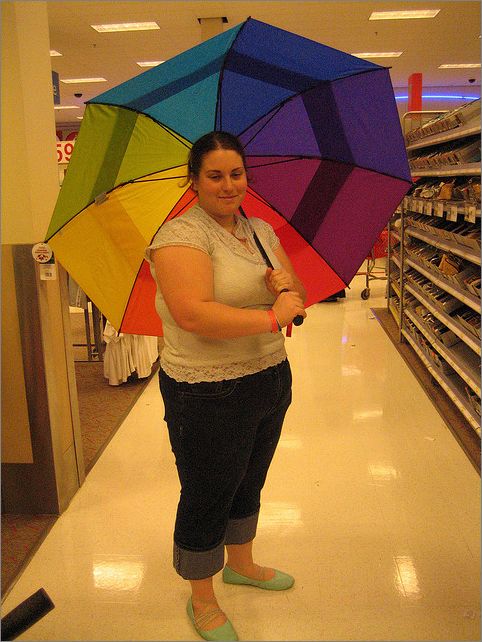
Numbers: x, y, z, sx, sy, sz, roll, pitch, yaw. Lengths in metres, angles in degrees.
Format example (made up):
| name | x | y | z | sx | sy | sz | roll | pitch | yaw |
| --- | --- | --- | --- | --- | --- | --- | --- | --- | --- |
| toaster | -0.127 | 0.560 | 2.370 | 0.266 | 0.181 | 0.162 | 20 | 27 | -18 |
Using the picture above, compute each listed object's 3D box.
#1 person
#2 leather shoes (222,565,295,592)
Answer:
| name | x | y | z | sx | sy | sz | roll | pitch | yaw |
| --- | --- | --- | --- | --- | --- | --- | --- | --- | --- |
| person | -0.015 | 0.318 | 1.372 | 0.419 | 1.580 | 0.616 | -3 | 11 | -7 |
| leather shoes | 0.074 | 0.981 | 1.863 | 0.268 | 0.108 | 0.102 | -1 | 1 | 5 |
